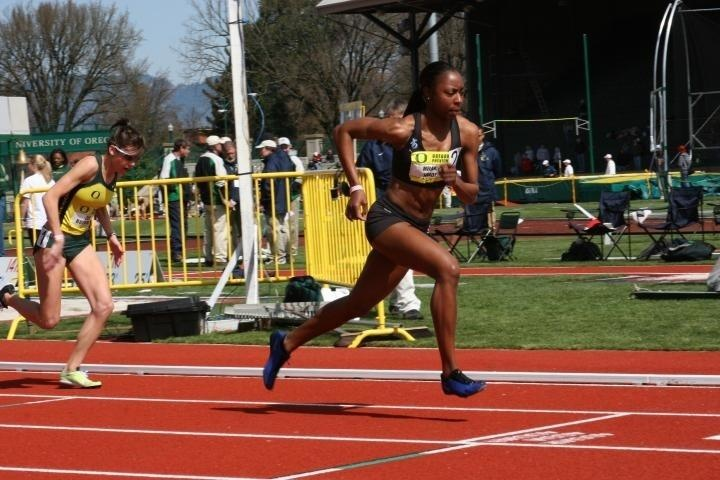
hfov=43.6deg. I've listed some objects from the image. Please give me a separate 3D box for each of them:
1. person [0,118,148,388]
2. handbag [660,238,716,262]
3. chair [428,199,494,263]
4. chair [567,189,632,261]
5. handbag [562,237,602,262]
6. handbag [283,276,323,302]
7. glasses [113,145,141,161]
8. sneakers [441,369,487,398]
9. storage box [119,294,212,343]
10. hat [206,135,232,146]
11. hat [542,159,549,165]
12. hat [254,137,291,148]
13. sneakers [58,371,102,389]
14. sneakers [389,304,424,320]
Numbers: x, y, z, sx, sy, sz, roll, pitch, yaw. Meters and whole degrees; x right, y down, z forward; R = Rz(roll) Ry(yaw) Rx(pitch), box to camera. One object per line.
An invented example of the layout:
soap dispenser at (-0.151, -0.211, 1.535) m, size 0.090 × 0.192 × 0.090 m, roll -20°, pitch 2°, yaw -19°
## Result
person at (-2.689, 0.145, 8.602) m, size 1.439 × 2.550 × 0.726 m, roll -4°, pitch 6°, yaw -5°
handbag at (5.686, 0.190, 15.634) m, size 0.845 × 0.362 × 0.460 m, roll 0°, pitch 6°, yaw 24°
chair at (1.940, -0.067, 16.864) m, size 1.286 × 1.131 × 1.257 m, roll -7°, pitch -1°, yaw 24°
chair at (4.551, -0.303, 17.123) m, size 1.316 × 1.159 × 1.177 m, roll 0°, pitch 9°, yaw 23°
handbag at (4.097, 0.193, 16.590) m, size 0.759 × 0.355 × 0.538 m, roll -2°, pitch 6°, yaw 4°
handbag at (-0.674, 0.581, 10.675) m, size 0.416 × 0.195 × 0.365 m, roll 2°, pitch -1°, yaw 3°
glasses at (-2.173, -0.820, 8.498) m, size 0.155 × 0.159 × 0.260 m, roll 2°, pitch 7°, yaw 40°
sneakers at (0.856, 1.167, 7.331) m, size 0.347 × 0.130 × 0.222 m, roll 0°, pitch 4°, yaw 35°
storage box at (-2.200, 0.892, 10.352) m, size 0.845 × 0.289 × 0.534 m, roll -5°, pitch 4°, yaw -14°
hat at (-2.660, -1.902, 17.057) m, size 0.372 × 0.126 × 0.515 m, roll 2°, pitch 7°, yaw 36°
hat at (9.084, -3.816, 43.712) m, size 0.383 × 0.307 × 0.459 m, roll 0°, pitch -4°, yaw 4°
hat at (-1.683, -1.938, 17.349) m, size 0.733 × 0.168 × 0.346 m, roll -2°, pitch -3°, yaw -7°
sneakers at (-2.624, 1.311, 8.477) m, size 0.489 × 0.166 × 0.153 m, roll 4°, pitch 2°, yaw -3°
sneakers at (0.548, 0.868, 10.796) m, size 0.470 × 0.163 × 0.162 m, roll -3°, pitch -4°, yaw 42°
